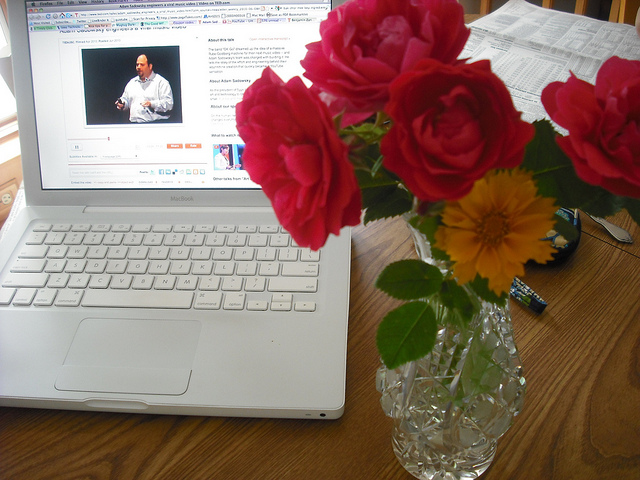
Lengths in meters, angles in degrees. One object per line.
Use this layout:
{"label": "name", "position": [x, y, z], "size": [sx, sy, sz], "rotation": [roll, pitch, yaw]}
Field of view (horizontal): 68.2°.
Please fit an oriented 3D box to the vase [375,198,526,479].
{"label": "vase", "position": [0.129, 0.127, 0.448], "size": [0.145, 0.246, 0.072], "rotation": [3, 31, 7]}
